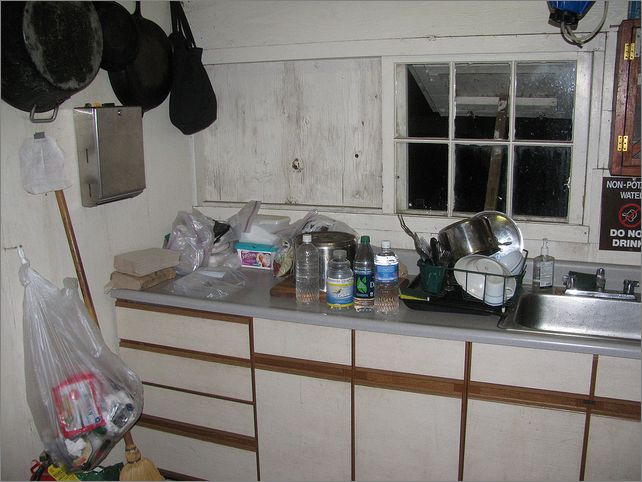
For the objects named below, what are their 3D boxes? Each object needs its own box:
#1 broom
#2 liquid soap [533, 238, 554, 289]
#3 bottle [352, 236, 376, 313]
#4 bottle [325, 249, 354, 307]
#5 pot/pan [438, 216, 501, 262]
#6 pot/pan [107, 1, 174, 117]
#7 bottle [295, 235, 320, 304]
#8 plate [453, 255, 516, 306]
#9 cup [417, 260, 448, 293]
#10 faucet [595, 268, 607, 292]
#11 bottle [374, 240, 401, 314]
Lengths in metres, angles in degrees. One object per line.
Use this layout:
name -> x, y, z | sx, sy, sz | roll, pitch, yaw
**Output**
broom -> -0.960, 0.430, 2.351 | 0.526, 1.315, 0.241 | 7, 10, 43
liquid soap -> 1.079, 0.100, 2.516 | 0.095, 0.225, 0.253 | 3, 8, 24
bottle -> 0.190, 0.138, 2.317 | 0.094, 0.324, 0.135 | 0, 8, 4
bottle -> 0.082, 0.166, 2.319 | 0.120, 0.256, 0.142 | -1, 8, -3
pot/pan -> 0.751, -0.019, 2.469 | 0.223, 0.162, 0.236 | -7, -9, -11
pot/pan -> -0.923, -0.916, 2.693 | 0.067, 0.487, 0.299 | -3, 0, 28
bottle -> -0.065, 0.145, 2.366 | 0.106, 0.271, 0.084 | -1, 8, -2
plate -> 0.741, 0.173, 2.271 | 0.247, 0.118, 0.280 | -3, 28, -2
cup -> 0.486, 0.156, 2.369 | 0.163, 0.144, 0.130 | 1, 3, -7
faucet -> 1.285, 0.176, 2.391 | 0.037, 0.101, 0.049 | 4, 9, 30
bottle -> 0.286, 0.152, 2.279 | 0.109, 0.314, 0.135 | 1, 8, 8
